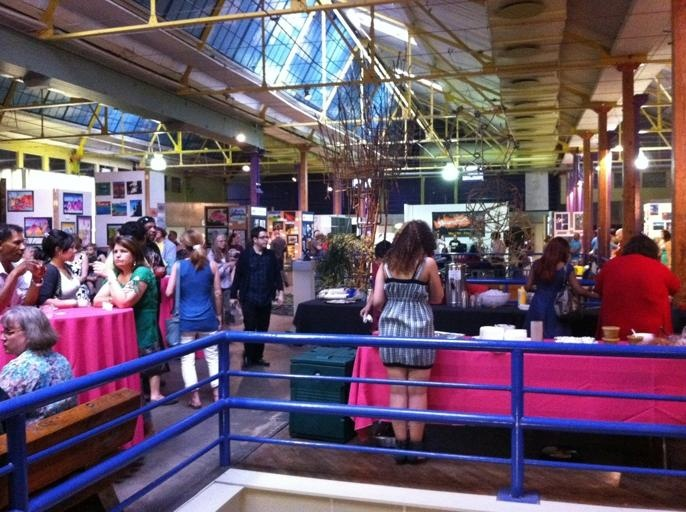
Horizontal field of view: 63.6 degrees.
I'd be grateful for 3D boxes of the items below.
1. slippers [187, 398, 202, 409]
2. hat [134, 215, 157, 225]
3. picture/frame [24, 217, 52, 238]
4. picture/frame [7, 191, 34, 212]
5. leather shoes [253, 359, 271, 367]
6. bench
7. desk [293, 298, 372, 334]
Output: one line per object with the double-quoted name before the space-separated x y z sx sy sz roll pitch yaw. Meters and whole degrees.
"slippers" -1.418 1.413 5.286 0.065 0.068 0.179 2 3 -37
"hat" -2.270 -0.399 6.364 0.194 0.187 0.243 -3 12 -27
"picture/frame" -6.417 -0.604 11.601 0.641 0.498 0.041 2 8 2
"picture/frame" -7.226 -1.237 12.385 0.485 0.394 0.051 1 -1 3
"leather shoes" -0.978 1.318 6.749 0.183 0.068 0.066 -1 1 9
"bench" -1.415 1.116 2.896 0.382 0.642 0.888 -2 1 7
"desk" -0.130 0.694 6.063 0.539 0.189 0.533 2 1 14
